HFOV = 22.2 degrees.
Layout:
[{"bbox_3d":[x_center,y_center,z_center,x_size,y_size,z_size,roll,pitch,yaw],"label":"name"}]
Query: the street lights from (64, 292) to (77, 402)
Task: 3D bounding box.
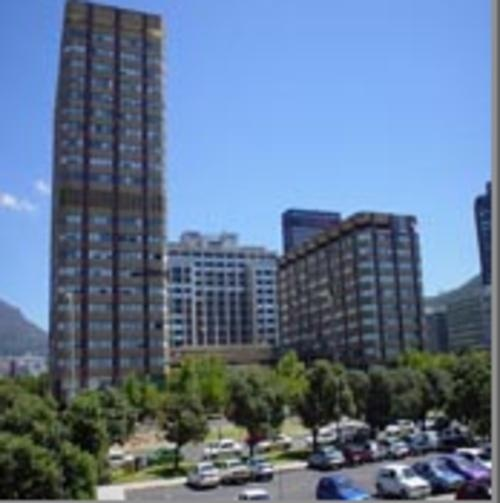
[{"bbox_3d":[-1.165,0.595,8.167,0.065,0.666,0.091,-1,-13,-7],"label":"street lights"}]
